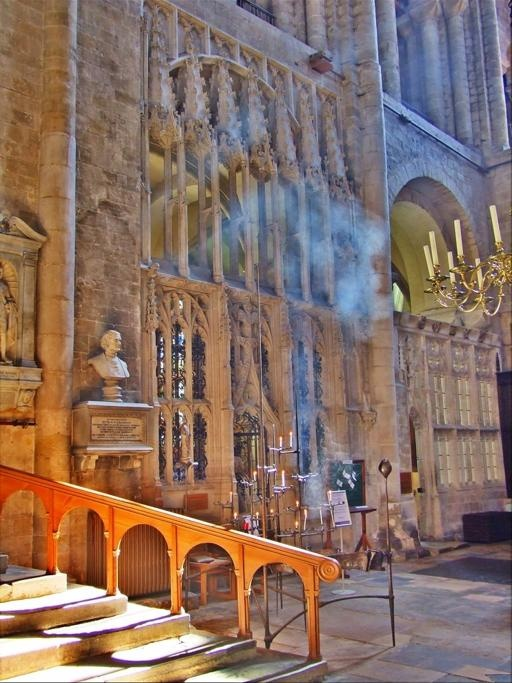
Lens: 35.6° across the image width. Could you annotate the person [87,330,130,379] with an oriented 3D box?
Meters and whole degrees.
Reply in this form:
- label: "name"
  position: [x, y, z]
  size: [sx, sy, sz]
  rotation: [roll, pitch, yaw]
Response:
- label: "person"
  position: [-1.843, 0.205, 10.133]
  size: [0.375, 0.698, 0.547]
  rotation: [-2, -7, 37]
